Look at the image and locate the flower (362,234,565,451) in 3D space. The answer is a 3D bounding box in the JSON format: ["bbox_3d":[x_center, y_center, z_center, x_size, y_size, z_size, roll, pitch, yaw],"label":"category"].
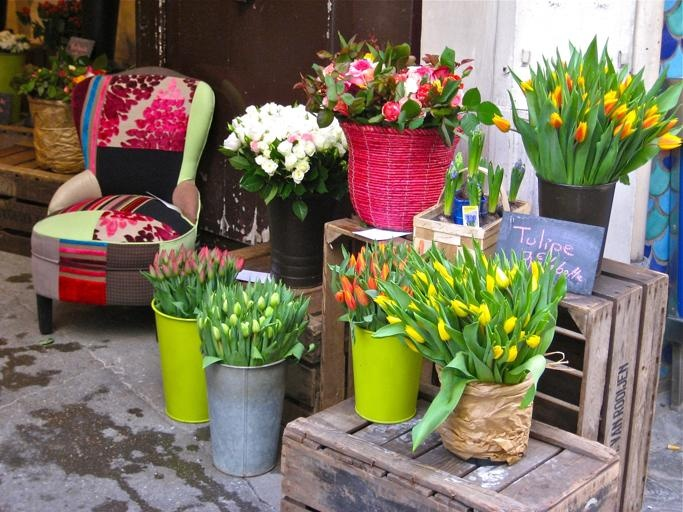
[{"bbox_3d":[0.296,0.105,1.487,0.458,0.471,0.478,-9,14,-34],"label":"flower"}]

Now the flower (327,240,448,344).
[{"bbox_3d":[0.126,0.089,1.690,0.241,0.263,0.263,3,4,43],"label":"flower"}]

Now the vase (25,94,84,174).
[{"bbox_3d":[-2.135,-0.971,4.534,0.512,0.584,0.528,-5,16,-23],"label":"vase"}]

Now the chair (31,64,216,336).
[{"bbox_3d":[-1.206,-0.339,3.222,0.866,1.476,0.840,1,11,3],"label":"chair"}]

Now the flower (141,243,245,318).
[{"bbox_3d":[-0.607,0.082,2.336,0.303,0.257,0.319,3,0,13],"label":"flower"}]

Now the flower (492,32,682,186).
[{"bbox_3d":[0.701,-0.378,1.684,0.457,0.364,0.425,12,18,36],"label":"flower"}]

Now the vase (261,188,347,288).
[{"bbox_3d":[-0.166,-0.117,2.729,0.373,0.459,0.395,5,11,12],"label":"vase"}]

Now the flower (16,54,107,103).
[{"bbox_3d":[-2.056,-1.313,4.241,0.582,0.303,0.619,-3,9,-12],"label":"flower"}]

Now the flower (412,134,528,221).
[{"bbox_3d":[0.406,-0.257,1.863,0.245,0.325,0.254,11,23,14],"label":"flower"}]

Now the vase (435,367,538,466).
[{"bbox_3d":[0.355,0.375,1.462,0.209,0.208,0.216,12,19,29],"label":"vase"}]

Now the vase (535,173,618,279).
[{"bbox_3d":[0.639,-0.083,1.643,0.223,0.259,0.227,5,7,20],"label":"vase"}]

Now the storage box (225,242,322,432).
[{"bbox_3d":[-0.251,0.326,2.193,0.334,0.460,0.663,-6,15,-26],"label":"storage box"}]

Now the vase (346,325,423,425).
[{"bbox_3d":[0.093,0.320,1.677,0.222,0.271,0.249,1,7,-2],"label":"vase"}]

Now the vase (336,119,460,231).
[{"bbox_3d":[0.193,-0.283,2.062,0.366,0.311,0.383,2,14,-14],"label":"vase"}]
